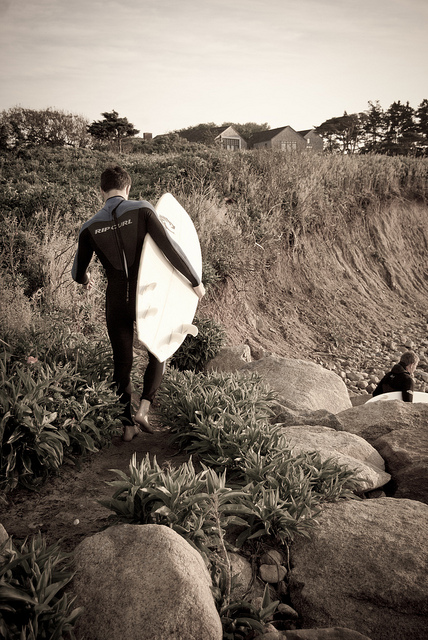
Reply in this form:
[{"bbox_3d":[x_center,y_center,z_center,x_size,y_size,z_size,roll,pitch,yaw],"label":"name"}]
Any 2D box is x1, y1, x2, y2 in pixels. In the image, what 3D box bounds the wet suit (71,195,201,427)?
[{"bbox_3d":[-0.595,-0.029,3.800,0.854,1.666,0.531,1,15,-16],"label":"wet suit"}]
